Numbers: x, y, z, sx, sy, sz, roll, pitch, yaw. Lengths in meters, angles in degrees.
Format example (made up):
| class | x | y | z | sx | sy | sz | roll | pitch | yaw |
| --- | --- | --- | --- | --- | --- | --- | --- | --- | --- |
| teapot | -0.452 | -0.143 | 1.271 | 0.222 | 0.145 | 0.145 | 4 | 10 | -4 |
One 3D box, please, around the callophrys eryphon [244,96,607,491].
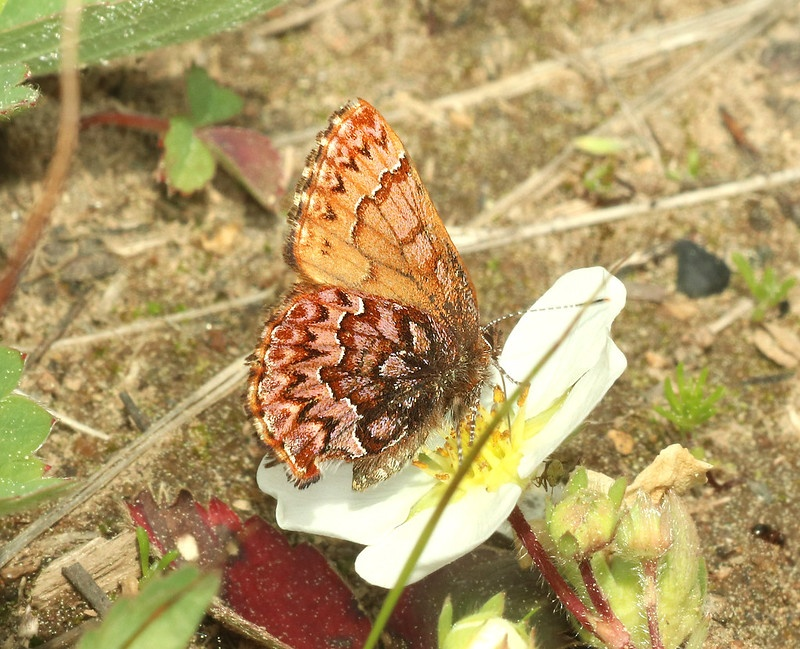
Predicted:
| class | x | y | z | sx | sy | sz | roll | pitch | yaw |
| --- | --- | --- | --- | --- | --- | --- | --- | --- | --- |
| callophrys eryphon | -0.051 | -0.017 | 3.083 | 0.832 | 0.655 | 1.206 | 14 | 75 | 2 |
